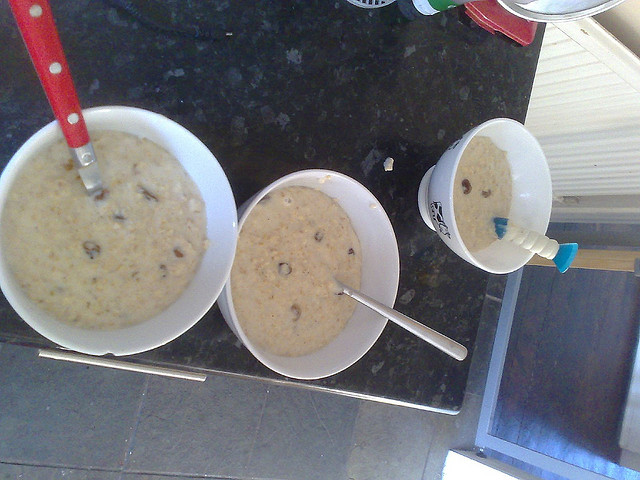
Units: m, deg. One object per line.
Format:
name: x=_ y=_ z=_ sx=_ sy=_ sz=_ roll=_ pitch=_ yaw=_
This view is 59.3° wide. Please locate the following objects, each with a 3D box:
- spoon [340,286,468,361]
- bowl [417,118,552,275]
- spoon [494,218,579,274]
spoon: x=0.154 y=0.164 z=1.106 sx=0.307 sy=0.026 sz=0.033 roll=34 pitch=96 yaw=33
bowl: x=0.291 y=-0.116 z=1.212 sx=0.296 sy=0.201 sz=0.310 roll=-7 pitch=105 yaw=-27
spoon: x=0.435 y=0.006 z=1.161 sx=0.165 sy=0.087 sz=0.083 roll=31 pitch=50 yaw=-1
